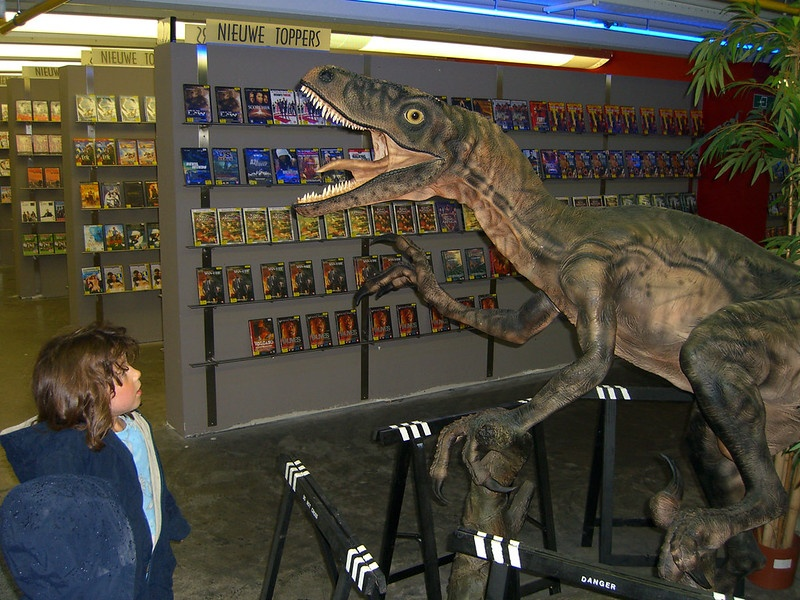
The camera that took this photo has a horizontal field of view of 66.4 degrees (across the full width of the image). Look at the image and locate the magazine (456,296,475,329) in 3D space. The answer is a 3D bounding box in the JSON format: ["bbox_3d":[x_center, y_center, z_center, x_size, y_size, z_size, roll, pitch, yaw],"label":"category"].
[{"bbox_3d":[0.666,0.084,5.991,0.281,0.375,0.115,1,5,9],"label":"magazine"}]

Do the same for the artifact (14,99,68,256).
[{"bbox_3d":[-5.808,-1.948,9.840,0.635,2.437,0.581,-2,0,-31],"label":"artifact"}]

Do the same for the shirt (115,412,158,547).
[{"bbox_3d":[-0.909,0.646,2.189,0.097,0.380,0.272,-7,4,-9],"label":"shirt"}]

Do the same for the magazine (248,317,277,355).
[{"bbox_3d":[-1.192,0.320,5.282,0.228,0.318,0.076,-2,0,-14],"label":"magazine"}]

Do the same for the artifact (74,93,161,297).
[{"bbox_3d":[-3.407,-1.234,7.350,0.893,2.325,0.748,-2,0,-24],"label":"artifact"}]

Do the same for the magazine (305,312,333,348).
[{"bbox_3d":[-0.742,0.273,5.485,0.313,0.402,0.043,-5,-2,-33],"label":"magazine"}]

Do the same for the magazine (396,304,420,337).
[{"bbox_3d":[0.064,0.198,5.904,0.315,0.400,0.043,-2,-2,-26],"label":"magazine"}]
